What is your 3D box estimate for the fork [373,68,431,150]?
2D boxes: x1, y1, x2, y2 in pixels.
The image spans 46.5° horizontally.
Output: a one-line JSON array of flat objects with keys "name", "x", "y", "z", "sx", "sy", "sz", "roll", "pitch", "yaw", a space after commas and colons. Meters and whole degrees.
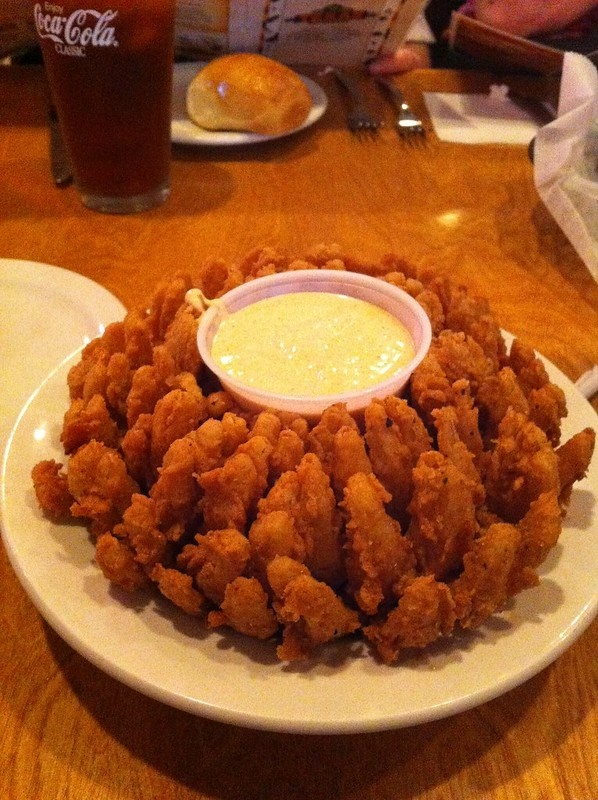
[{"name": "fork", "x": 0.231, "y": -0.646, "z": 1.529, "sx": 0.048, "sy": 0.036, "sz": 0.298, "roll": -7, "pitch": 43, "yaw": -2}]

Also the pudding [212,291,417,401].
[{"name": "pudding", "x": 0.010, "y": -0.088, "z": 0.810, "sx": 0.263, "sy": 0.104, "sz": 0.182, "roll": -2, "pitch": 16, "yaw": -5}]
